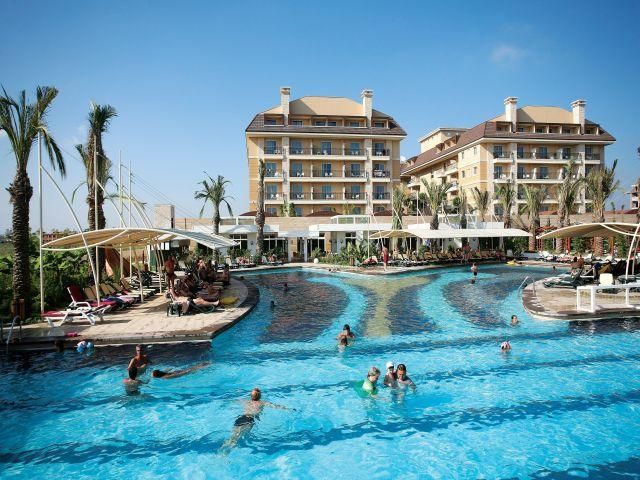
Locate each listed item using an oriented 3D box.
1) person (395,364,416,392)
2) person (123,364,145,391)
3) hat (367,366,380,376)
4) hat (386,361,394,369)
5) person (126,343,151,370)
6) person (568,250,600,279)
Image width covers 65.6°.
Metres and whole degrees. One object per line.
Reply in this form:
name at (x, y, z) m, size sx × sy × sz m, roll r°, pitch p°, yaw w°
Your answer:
person at (2.050, 3.370, 11.955) m, size 0.502 × 0.758 × 0.257 m, roll -3°, pitch -41°, yaw -4°
person at (-4.463, 3.298, 11.857) m, size 0.440 × 0.368 × 0.899 m, roll -6°, pitch 15°, yaw -22°
hat at (1.271, 3.179, 11.967) m, size 0.250 × 0.231 × 0.202 m, roll -3°, pitch -12°, yaw 39°
hat at (1.695, 3.005, 11.964) m, size 0.232 × 0.077 × 0.236 m, roll -1°, pitch 1°, yaw 37°
person at (-4.678, 3.054, 12.764) m, size 0.581 × 0.780 × 0.412 m, roll 3°, pitch -9°, yaw -26°
person at (13.901, 1.307, 26.229) m, size 1.112 × 1.211 × 2.202 m, roll 0°, pitch -4°, yaw -2°
